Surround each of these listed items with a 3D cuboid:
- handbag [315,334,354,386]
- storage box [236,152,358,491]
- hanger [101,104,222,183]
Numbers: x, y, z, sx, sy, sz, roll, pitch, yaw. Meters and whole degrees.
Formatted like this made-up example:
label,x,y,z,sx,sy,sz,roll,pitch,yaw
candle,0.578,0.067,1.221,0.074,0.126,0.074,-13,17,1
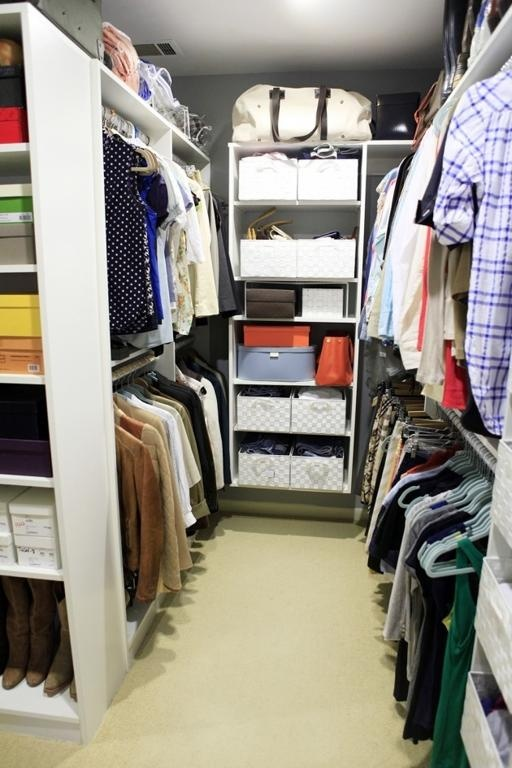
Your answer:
label,x,y,z,sx,sy,sz,roll,pitch,yaw
handbag,0.405,-0.111,2.751,0.193,0.288,0.177,2,8,9
storage box,0.201,-0.261,2.833,0.697,1.898,0.474,2,8,10
hanger,-0.371,-0.952,2.039,0.114,0.222,0.868,5,13,10
